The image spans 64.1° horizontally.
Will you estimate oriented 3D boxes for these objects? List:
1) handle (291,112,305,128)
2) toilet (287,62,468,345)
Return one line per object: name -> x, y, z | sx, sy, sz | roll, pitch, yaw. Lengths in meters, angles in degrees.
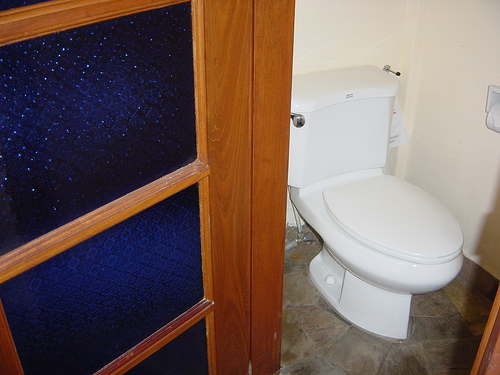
handle -> 0.187, -0.265, 1.558 | 0.041, 0.069, 0.070 | -14, 21, -28
toilet -> 0.541, 0.107, 1.758 | 0.548, 1.001, 0.906 | -16, 29, -21
